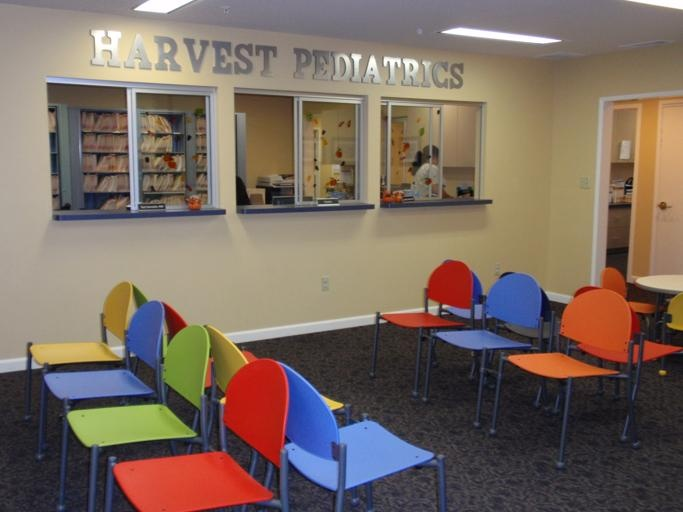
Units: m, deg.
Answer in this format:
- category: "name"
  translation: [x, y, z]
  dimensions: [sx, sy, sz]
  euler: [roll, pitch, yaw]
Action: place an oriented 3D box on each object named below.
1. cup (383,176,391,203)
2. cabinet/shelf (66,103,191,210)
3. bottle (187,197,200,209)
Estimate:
- category: "cup"
  translation: [0.525, -0.778, 6.765]
  dimensions: [0.113, 0.281, 0.309]
  euler: [1, 13, 3]
- category: "cabinet/shelf"
  translation: [-2.960, -1.364, 7.980]
  dimensions: [1.740, 1.811, 0.593]
  euler: [-1, -3, -5]
- category: "bottle"
  translation: [-1.472, -0.519, 5.807]
  dimensions: [0.118, 0.121, 0.123]
  euler: [1, -2, 7]
